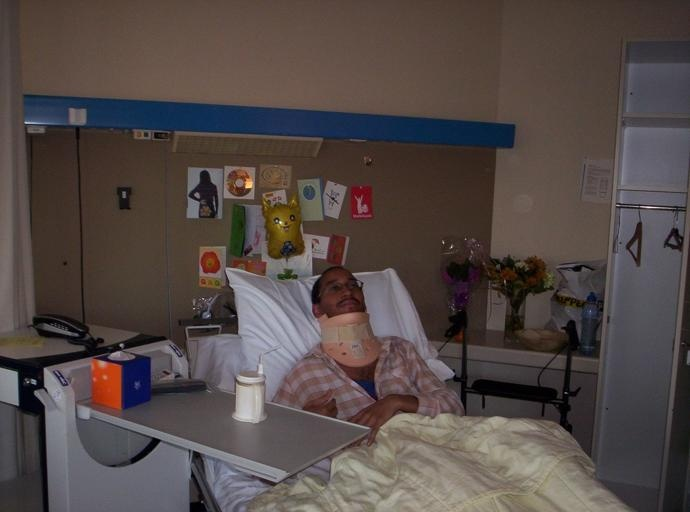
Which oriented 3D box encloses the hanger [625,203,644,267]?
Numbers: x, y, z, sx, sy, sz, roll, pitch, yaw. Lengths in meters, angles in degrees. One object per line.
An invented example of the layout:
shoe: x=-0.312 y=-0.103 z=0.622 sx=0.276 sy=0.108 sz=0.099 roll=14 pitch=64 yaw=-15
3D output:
hanger: x=1.832 y=-0.109 z=3.542 sx=0.077 sy=0.338 sz=0.059 roll=8 pitch=20 yaw=36

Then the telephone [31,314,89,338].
telephone: x=-1.210 y=0.291 z=2.371 sx=0.214 sy=0.081 sz=0.107 roll=3 pitch=2 yaw=10

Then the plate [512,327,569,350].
plate: x=1.245 y=0.521 z=3.529 sx=0.167 sy=0.076 sz=0.181 roll=2 pitch=3 yaw=-44

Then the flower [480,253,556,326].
flower: x=1.204 y=0.235 z=3.844 sx=0.424 sy=0.457 sz=0.388 roll=9 pitch=5 yaw=25

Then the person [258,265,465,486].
person: x=0.066 y=0.558 z=2.712 sx=0.680 sy=0.393 sz=0.914 roll=-6 pitch=24 yaw=-20

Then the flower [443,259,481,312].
flower: x=0.769 y=0.211 z=3.814 sx=0.252 sy=0.321 sz=0.253 roll=12 pitch=-10 yaw=-41

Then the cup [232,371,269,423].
cup: x=-0.342 y=0.517 z=2.040 sx=0.117 sy=0.146 sz=0.145 roll=0 pitch=4 yaw=-26

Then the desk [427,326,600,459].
desk: x=1.147 y=0.758 z=3.580 sx=0.679 sy=0.473 sz=0.376 roll=1 pitch=-24 yaw=38
